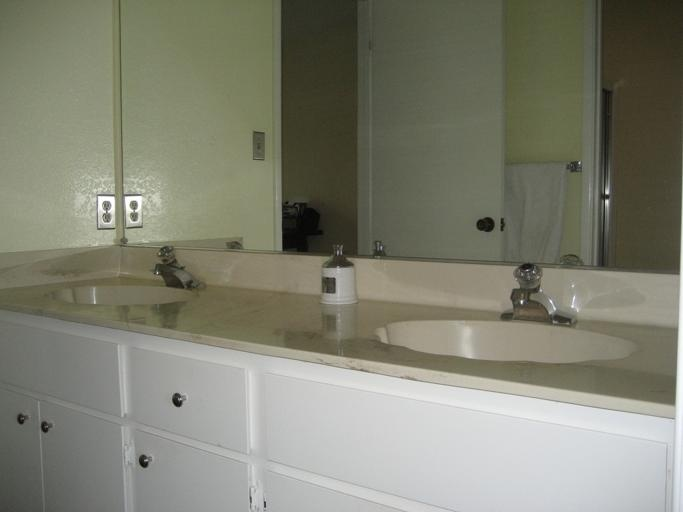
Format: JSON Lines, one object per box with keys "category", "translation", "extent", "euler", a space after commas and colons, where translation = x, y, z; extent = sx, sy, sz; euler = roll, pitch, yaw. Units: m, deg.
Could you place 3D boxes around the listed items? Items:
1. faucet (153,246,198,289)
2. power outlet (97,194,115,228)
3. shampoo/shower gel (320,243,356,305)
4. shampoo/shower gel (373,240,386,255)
{"category": "faucet", "translation": [-0.599, 0.060, 1.975], "extent": [0.147, 0.167, 0.168], "euler": [-11, -14, 34]}
{"category": "power outlet", "translation": [-0.986, -0.184, 2.215], "extent": [0.013, 0.139, 0.078], "euler": [11, 12, 40]}
{"category": "shampoo/shower gel", "translation": [-0.008, 0.070, 1.537], "extent": [0.130, 0.188, 0.122], "euler": [-2, -4, 35]}
{"category": "shampoo/shower gel", "translation": [0.117, -0.022, 1.647], "extent": [0.048, 0.049, 0.038], "euler": [1, 9, 6]}
